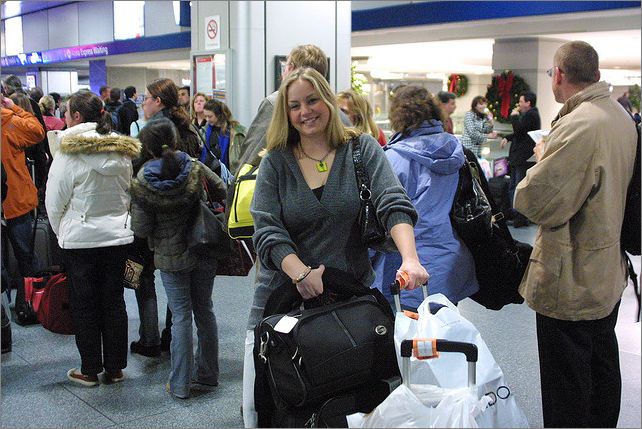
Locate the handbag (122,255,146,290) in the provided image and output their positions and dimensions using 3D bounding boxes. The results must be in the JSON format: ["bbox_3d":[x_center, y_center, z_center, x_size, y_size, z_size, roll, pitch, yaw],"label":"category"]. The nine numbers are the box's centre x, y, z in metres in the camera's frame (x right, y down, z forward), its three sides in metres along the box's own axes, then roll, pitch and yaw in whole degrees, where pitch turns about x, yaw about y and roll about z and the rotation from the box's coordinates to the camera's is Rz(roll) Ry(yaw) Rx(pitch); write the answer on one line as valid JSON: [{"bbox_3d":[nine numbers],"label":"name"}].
[{"bbox_3d":[-1.419,0.434,3.916,0.167,0.216,0.071,14,4,-27],"label":"handbag"}]

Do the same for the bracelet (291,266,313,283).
[{"bbox_3d":[-0.087,0.276,2.337,0.067,0.022,0.067,-40,-4,8],"label":"bracelet"}]

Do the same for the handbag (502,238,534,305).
[{"bbox_3d":[1.312,0.375,3.470,0.168,0.402,0.301,4,-4,18],"label":"handbag"}]

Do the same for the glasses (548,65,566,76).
[{"bbox_3d":[1.312,-0.804,2.913,0.097,0.030,0.100,2,19,8],"label":"glasses"}]

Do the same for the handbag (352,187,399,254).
[{"bbox_3d":[0.258,0.013,2.470,0.104,0.237,0.223,-18,-31,7],"label":"handbag"}]

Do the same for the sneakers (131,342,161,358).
[{"bbox_3d":[-1.460,1.122,4.351,0.261,0.109,0.105,12,13,30],"label":"sneakers"}]

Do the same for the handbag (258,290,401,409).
[{"bbox_3d":[0.058,0.592,2.319,0.601,0.403,0.303,-10,-9,-33],"label":"handbag"}]

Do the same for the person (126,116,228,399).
[{"bbox_3d":[-1.002,0.335,3.739,0.643,1.986,0.609,-3,15,-11],"label":"person"}]

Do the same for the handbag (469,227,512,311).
[{"bbox_3d":[1.094,0.331,3.383,0.265,0.477,0.334,-13,20,21],"label":"handbag"}]

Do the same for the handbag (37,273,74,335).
[{"bbox_3d":[-2.086,0.700,4.127,0.208,0.408,0.292,3,-6,32],"label":"handbag"}]

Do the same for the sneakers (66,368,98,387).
[{"bbox_3d":[-1.763,1.211,3.891,0.250,0.098,0.100,17,8,22],"label":"sneakers"}]
